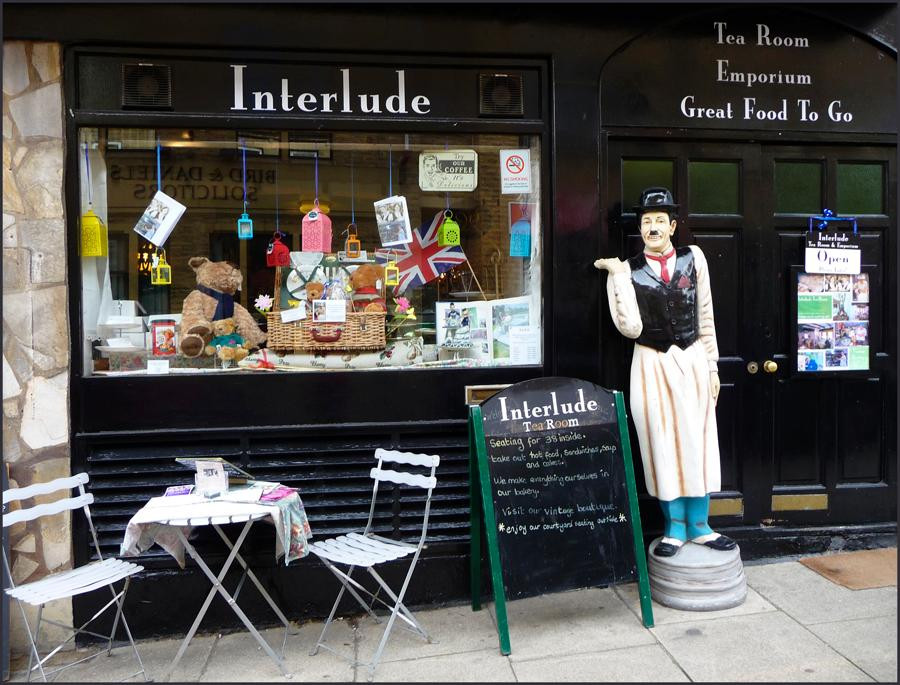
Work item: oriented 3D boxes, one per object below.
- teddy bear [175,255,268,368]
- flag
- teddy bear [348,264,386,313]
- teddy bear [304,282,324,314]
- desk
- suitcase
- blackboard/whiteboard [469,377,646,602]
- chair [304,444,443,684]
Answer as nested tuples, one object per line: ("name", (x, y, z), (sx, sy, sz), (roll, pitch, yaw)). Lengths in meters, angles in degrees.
("teddy bear", (-1.606, -0.255, 6.457), (0.582, 0.688, 0.185), (-4, 5, -17))
("flag", (-0.247, -0.630, 6.668), (0.541, 0.399, 0.026), (-28, 5, 4))
("teddy bear", (-0.614, -0.370, 6.727), (0.304, 0.416, 0.311), (-2, -2, -18))
("teddy bear", (-0.970, -0.329, 6.554), (0.161, 0.262, 0.190), (1, -4, -12))
("desk", (-1.442, 1.484, 5.865), (1.119, 1.150, 0.778), (-3, 5, -10))
("suitcase", (-0.875, -0.170, 6.557), (0.833, 0.493, 0.174), (-3, 5, -3))
("blackboard/whiteboard", (0.689, 0.960, 5.978), (1.354, 1.813, 1.010), (-4, 7, -8))
("chair", (-0.455, 1.371, 6.085), (0.852, 1.335, 0.856), (1, -2, -39))
